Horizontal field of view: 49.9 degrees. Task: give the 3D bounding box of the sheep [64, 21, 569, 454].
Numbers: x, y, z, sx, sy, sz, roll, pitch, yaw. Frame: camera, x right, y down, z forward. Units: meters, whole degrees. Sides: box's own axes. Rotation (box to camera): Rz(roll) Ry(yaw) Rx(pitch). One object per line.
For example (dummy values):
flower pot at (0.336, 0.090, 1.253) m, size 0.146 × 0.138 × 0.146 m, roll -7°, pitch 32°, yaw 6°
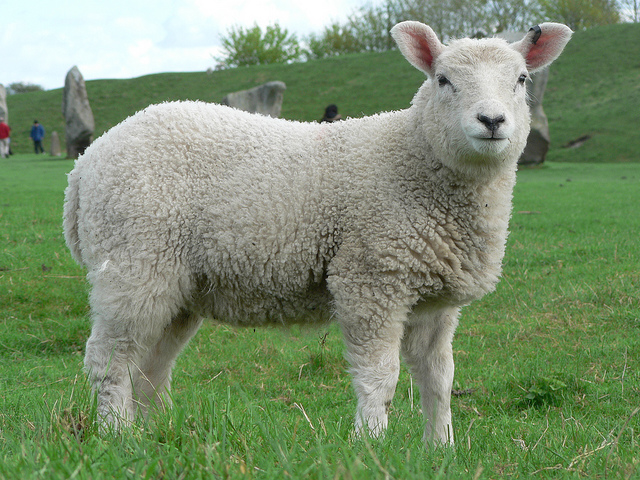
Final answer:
sheep at (0.089, -0.114, 6.830) m, size 4.835 × 4.023 × 2.189 m, roll -2°, pitch 0°, yaw 13°
